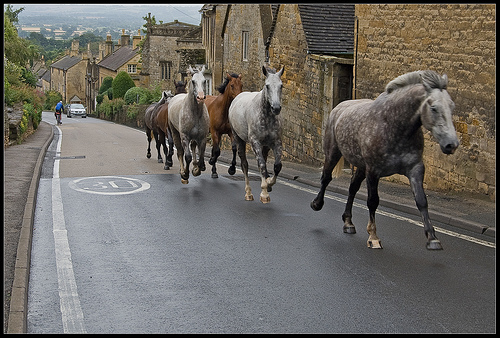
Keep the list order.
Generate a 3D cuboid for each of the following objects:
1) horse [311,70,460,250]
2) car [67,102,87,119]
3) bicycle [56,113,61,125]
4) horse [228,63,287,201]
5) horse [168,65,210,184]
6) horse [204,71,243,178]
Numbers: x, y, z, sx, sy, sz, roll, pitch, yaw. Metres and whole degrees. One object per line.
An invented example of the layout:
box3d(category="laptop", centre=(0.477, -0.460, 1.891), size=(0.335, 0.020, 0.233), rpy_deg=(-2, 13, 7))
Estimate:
box3d(category="horse", centre=(2.571, -0.150, 8.426), size=(0.915, 3.347, 3.081), rpy_deg=(-2, 8, -20))
box3d(category="car", centre=(-32.834, -10.867, 81.474), size=(2.943, 2.384, 4.313), rpy_deg=(-5, 10, -31))
box3d(category="bicycle", centre=(-24.107, -6.313, 54.156), size=(0.627, 1.250, 0.342), rpy_deg=(6, 9, 38))
box3d(category="horse", centre=(0.236, -0.975, 12.424), size=(0.859, 3.653, 2.981), rpy_deg=(-2, 8, -18))
box3d(category="horse", centre=(-2.202, -1.368, 15.444), size=(1.090, 3.863, 4.739), rpy_deg=(-2, -5, -11))
box3d(category="horse", centre=(-1.167, -1.516, 16.105), size=(1.052, 3.704, 4.481), rpy_deg=(-1, 4, -19))
